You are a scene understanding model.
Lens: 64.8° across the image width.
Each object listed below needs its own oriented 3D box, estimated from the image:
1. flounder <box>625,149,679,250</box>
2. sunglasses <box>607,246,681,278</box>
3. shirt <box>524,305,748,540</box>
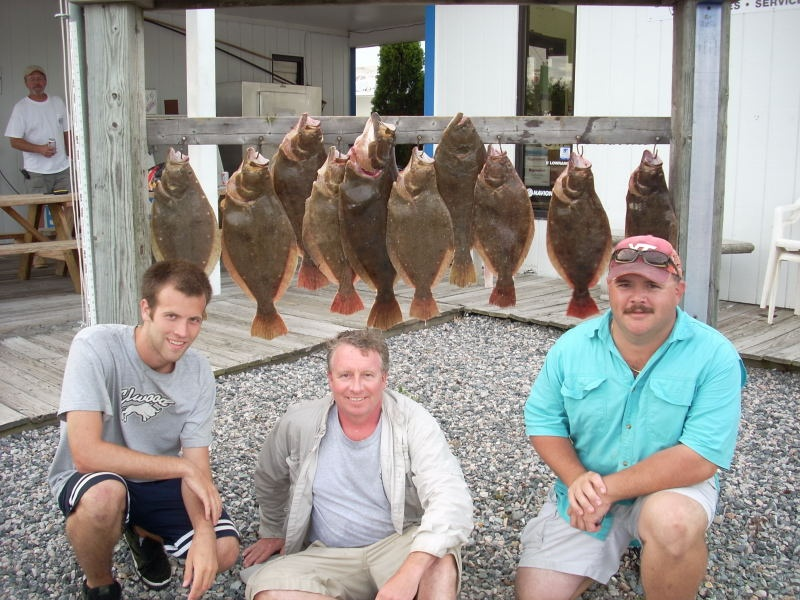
[{"bbox_3d":[1.210,-0.447,3.090,0.218,0.643,0.179,6,14,9],"label":"flounder"},{"bbox_3d":[0.960,-0.143,2.425,0.266,0.106,0.082,1,10,0],"label":"sunglasses"},{"bbox_3d":[0.967,0.535,2.573,0.825,1.020,0.514,7,15,24],"label":"shirt"}]
